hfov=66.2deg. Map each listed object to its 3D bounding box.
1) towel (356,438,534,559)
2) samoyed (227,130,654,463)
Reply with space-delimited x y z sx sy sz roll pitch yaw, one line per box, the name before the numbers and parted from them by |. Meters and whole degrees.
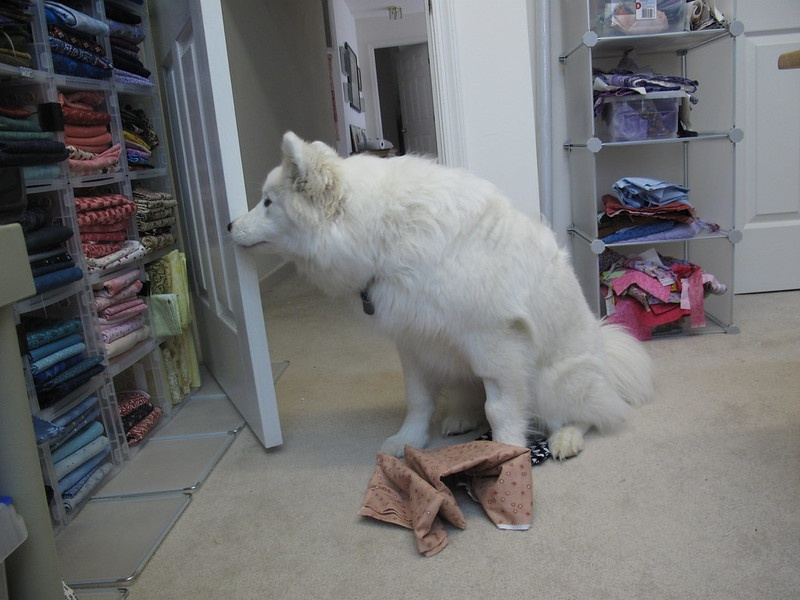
towel | 0.178 0.630 2.030 0.361 0.124 0.385 -11 20 -14
samoyed | 0.255 -0.003 2.461 1.653 1.313 0.725 -5 9 -15
